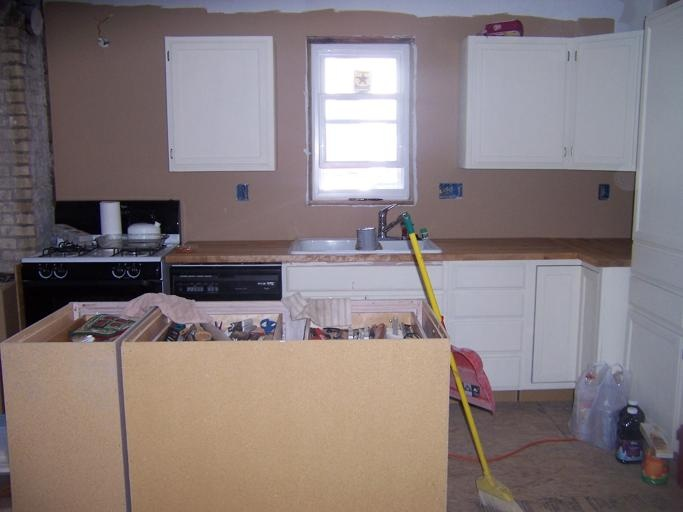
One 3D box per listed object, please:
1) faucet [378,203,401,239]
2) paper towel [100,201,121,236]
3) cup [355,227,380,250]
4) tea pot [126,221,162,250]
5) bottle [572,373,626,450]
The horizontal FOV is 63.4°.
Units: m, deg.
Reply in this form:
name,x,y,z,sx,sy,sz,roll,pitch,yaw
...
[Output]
name,x,y,z,sx,sy,sz,roll,pitch,yaw
faucet,0.353,-0.248,4.026,0.178,0.259,0.545,-1,5,4
paper towel,-1.703,-0.277,4.083,0.135,0.251,0.122,-4,6,-22
cup,0.189,-0.127,3.974,0.158,0.164,0.132,-1,10,7
tea pot,-1.406,-0.152,3.976,0.207,0.161,0.202,-1,4,0
bottle,1.594,0.910,3.388,0.283,0.480,0.187,1,6,26
